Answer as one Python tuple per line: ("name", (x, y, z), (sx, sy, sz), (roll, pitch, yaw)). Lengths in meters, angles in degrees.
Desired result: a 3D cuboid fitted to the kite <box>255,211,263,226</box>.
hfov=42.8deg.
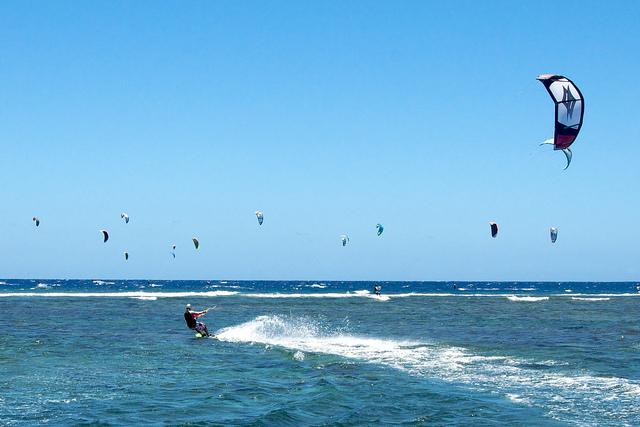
("kite", (-2.706, 0.245, 37.178), (0.274, 0.705, 0.494), (1, -3, -42))
